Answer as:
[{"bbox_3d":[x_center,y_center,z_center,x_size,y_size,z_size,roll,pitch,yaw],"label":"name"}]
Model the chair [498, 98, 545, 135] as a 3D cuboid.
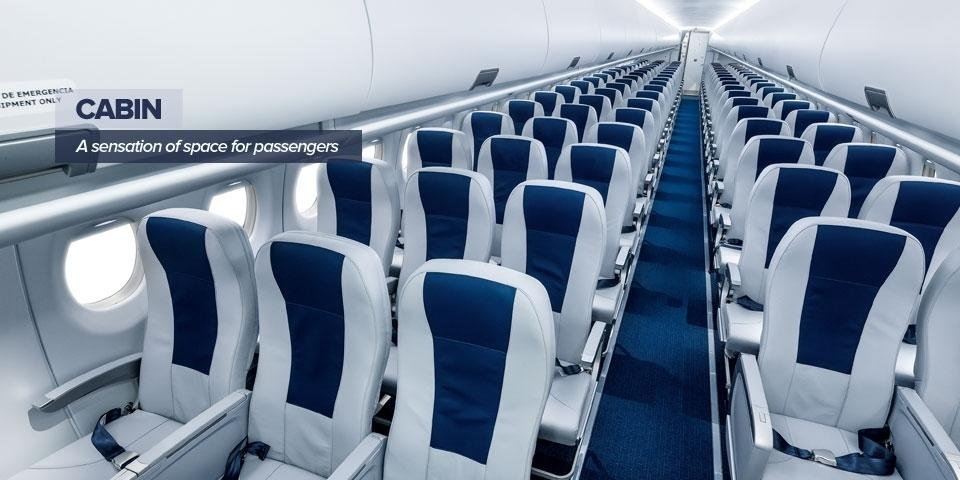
[{"bbox_3d":[0.674,-1.825,8.131,0.609,0.688,0.762,7,-74,17],"label":"chair"}]
